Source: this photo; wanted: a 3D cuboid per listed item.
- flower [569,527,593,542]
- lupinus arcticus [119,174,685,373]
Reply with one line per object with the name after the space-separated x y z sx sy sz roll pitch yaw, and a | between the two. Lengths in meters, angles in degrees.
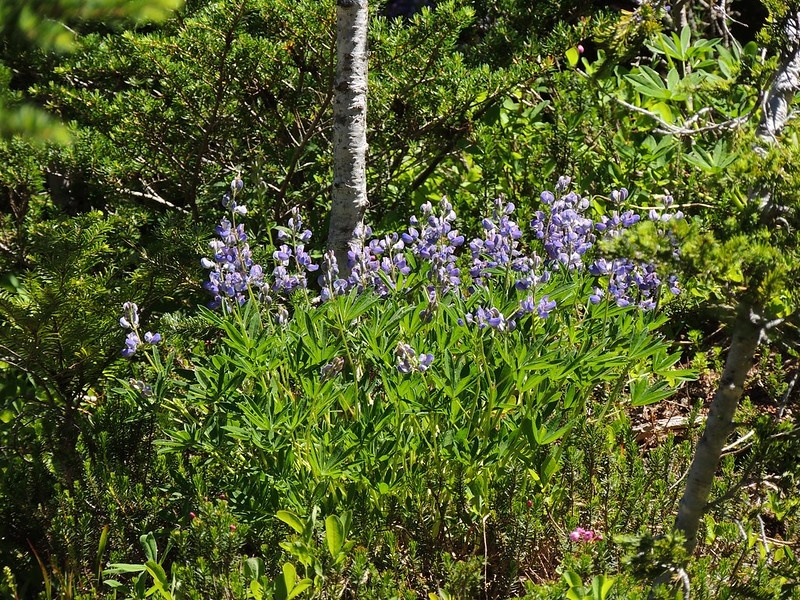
0.759 1.004 4.861 0.063 0.032 0.069 2 -1 -10 | flower
0.017 -0.103 5.531 2.153 0.932 0.713 -1 -25 6 | lupinus arcticus
